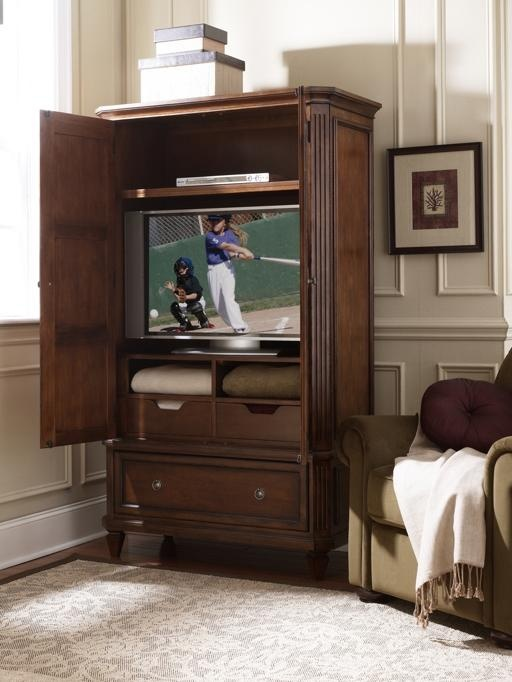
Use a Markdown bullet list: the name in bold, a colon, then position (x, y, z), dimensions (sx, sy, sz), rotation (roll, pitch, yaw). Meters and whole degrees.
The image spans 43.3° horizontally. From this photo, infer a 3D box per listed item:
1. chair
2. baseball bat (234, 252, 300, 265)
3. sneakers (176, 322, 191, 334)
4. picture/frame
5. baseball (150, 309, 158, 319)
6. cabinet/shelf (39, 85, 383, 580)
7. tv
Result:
- **chair**: position (0.556, 0.412, 2.154), dimensions (0.546, 0.918, 0.772), rotation (5, -6, -43)
- **baseball bat**: position (0.056, -0.337, 2.611), dimensions (0.184, 0.033, 0.027), rotation (13, 45, 14)
- **sneakers**: position (-0.309, -0.061, 2.773), dimensions (0.040, 0.051, 0.121), rotation (0, -5, -4)
- **picture/frame**: position (0.789, -0.622, 2.768), dimensions (0.507, 0.597, 0.025), rotation (0, 2, 27)
- **baseball**: position (-0.445, -0.120, 2.807), dimensions (0.035, 0.026, 0.036), rotation (2, -10, -11)
- **cabinet/shelf**: position (-0.180, -0.032, 2.659), dimensions (1.142, 1.901, 0.818), rotation (1, 3, 21)
- **tv**: position (-0.182, -0.273, 2.704), dimensions (0.645, 0.444, 0.015), rotation (1, 2, 14)
